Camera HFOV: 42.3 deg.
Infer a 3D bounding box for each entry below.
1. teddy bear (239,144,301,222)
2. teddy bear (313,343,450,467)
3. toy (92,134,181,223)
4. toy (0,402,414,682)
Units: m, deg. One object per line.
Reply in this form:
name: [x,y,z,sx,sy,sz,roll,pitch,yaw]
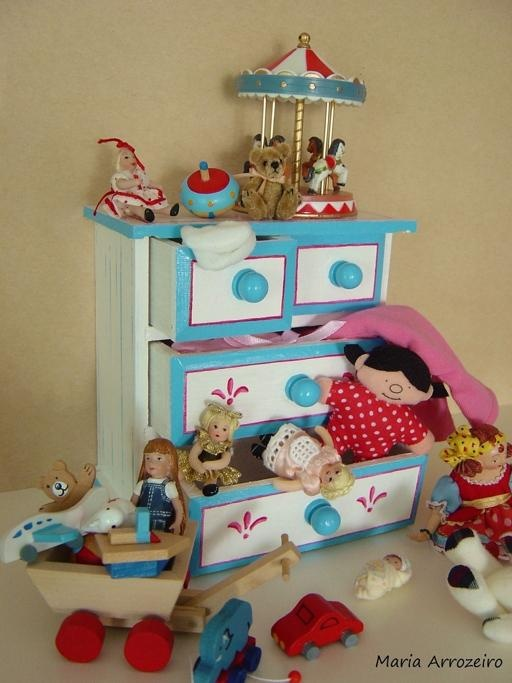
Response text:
teddy bear: [0.032,-0.324,1.364,0.114,0.145,0.068,3,14,5]
teddy bear: [0.249,0.125,1.352,0.230,0.252,0.083,26,25,-19]
toy: [-0.251,-0.338,1.368,0.148,0.171,0.335,-4,14,-22]
toy: [-0.083,0.344,1.078,0.586,0.222,0.235,0,20,-10]
